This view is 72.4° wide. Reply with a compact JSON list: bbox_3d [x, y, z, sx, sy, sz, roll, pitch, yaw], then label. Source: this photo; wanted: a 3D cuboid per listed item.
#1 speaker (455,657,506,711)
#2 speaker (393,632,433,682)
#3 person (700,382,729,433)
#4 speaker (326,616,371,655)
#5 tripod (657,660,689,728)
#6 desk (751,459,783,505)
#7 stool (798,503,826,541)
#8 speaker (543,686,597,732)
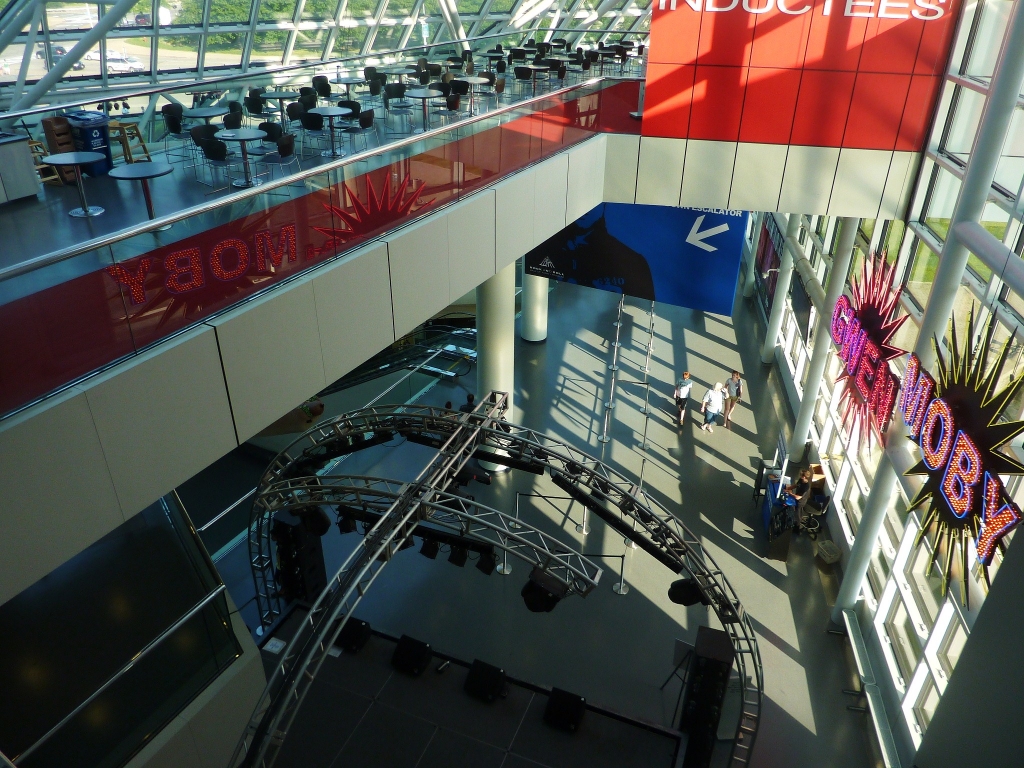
[{"bbox_3d":[-0.495,5.348,12.336,0.610,0.605,0.625,9,41,13],"label":"speaker"},{"bbox_3d":[-1.861,5.031,12.780,0.579,0.612,0.626,19,33,20],"label":"speaker"},{"bbox_3d":[5.441,0.660,19.079,0.559,1.159,0.983,19,32,31],"label":"person"},{"bbox_3d":[-2.997,4.744,13.091,0.655,0.465,0.499,3,27,2],"label":"speaker"},{"bbox_3d":[2.794,5.532,12.253,0.350,0.504,1.125,14,-8,12],"label":"tripod"},{"bbox_3d":[5.910,2.366,16.373,0.442,0.805,0.446,18,61,20],"label":"desk"},{"bbox_3d":[6.719,3.117,15.851,0.476,0.700,0.705,18,31,28],"label":"stool"},{"bbox_3d":[0.887,5.641,11.965,0.685,0.347,0.564,11,28,16],"label":"speaker"}]
